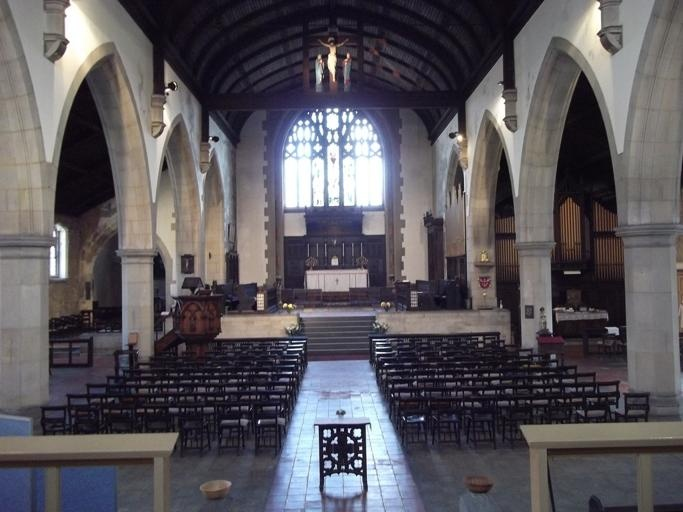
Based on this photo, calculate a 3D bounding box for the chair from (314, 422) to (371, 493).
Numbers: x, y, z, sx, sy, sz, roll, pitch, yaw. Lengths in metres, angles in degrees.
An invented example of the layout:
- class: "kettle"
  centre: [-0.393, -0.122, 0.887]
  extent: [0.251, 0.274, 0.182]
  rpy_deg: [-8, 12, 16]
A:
- class: "chair"
  centre: [0.038, 3.516, 14.776]
  extent: [0.920, 1.234, 0.885]
  rpy_deg: [-2, -9, 1]

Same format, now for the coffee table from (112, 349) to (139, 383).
- class: "coffee table"
  centre: [-5.189, 2.653, 20.132]
  extent: [0.584, 1.297, 0.637]
  rpy_deg: [1, -3, -1]

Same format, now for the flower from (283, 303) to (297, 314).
- class: "flower"
  centre: [-1.818, 1.823, 28.922]
  extent: [0.388, 0.334, 0.424]
  rpy_deg: [0, -4, 2]

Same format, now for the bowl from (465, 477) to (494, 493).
- class: "bowl"
  centre: [2.163, 3.600, 13.093]
  extent: [0.442, 0.208, 0.573]
  rpy_deg: [-1, -10, -9]

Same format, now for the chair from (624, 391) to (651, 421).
- class: "chair"
  centre: [5.871, 2.986, 16.483]
  extent: [0.473, 0.568, 1.837]
  rpy_deg: [-5, -10, 20]
